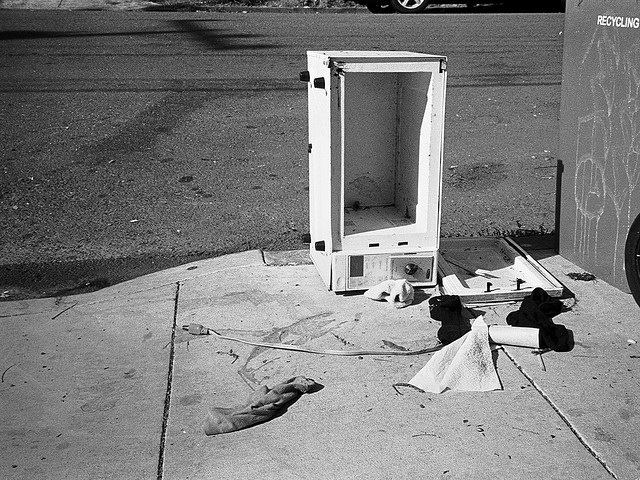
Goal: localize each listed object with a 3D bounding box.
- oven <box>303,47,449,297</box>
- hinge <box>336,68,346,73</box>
[{"bbox_3d":[0.392,-0.515,4.580,1.037,1.825,0.744,-5,12,-2],"label":"oven"},{"bbox_3d":[0.133,-1.135,4.100,0.055,0.029,0.007,-5,12,-9],"label":"hinge"}]
